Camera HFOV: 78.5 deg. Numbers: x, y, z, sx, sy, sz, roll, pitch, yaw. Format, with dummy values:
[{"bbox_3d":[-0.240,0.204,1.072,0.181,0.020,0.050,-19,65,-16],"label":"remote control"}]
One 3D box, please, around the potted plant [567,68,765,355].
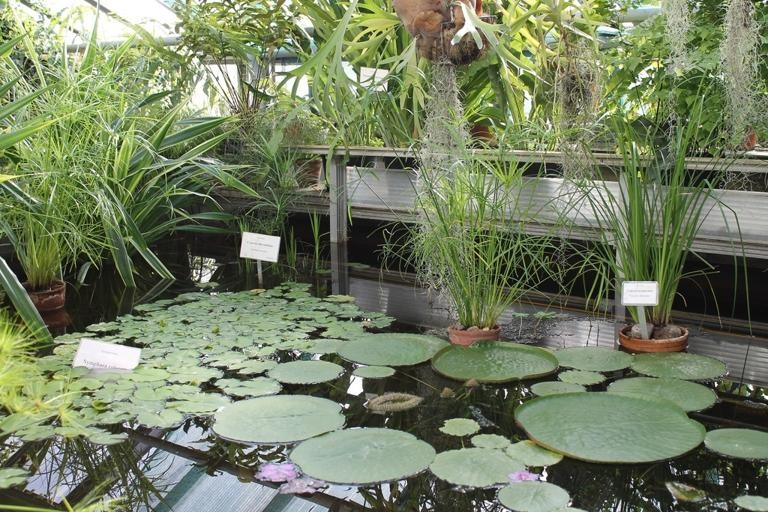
[{"bbox_3d":[1.410,-0.180,2.351,0.794,1.166,0.772,2,9,25],"label":"potted plant"}]
